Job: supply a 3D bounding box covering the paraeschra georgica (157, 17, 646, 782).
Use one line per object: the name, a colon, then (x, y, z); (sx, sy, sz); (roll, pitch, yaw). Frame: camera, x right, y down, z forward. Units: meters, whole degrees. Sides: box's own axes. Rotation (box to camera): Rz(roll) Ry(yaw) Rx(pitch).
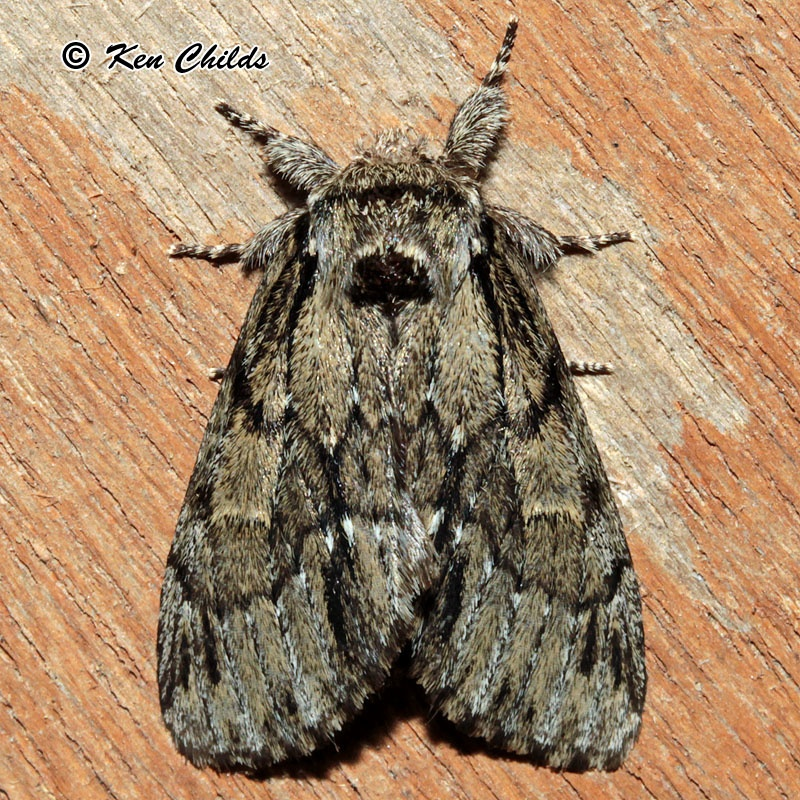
paraeschra georgica: (0.026, 0.021, 4.830); (1.525, 0.677, 2.928); (-3, 89, 4)
